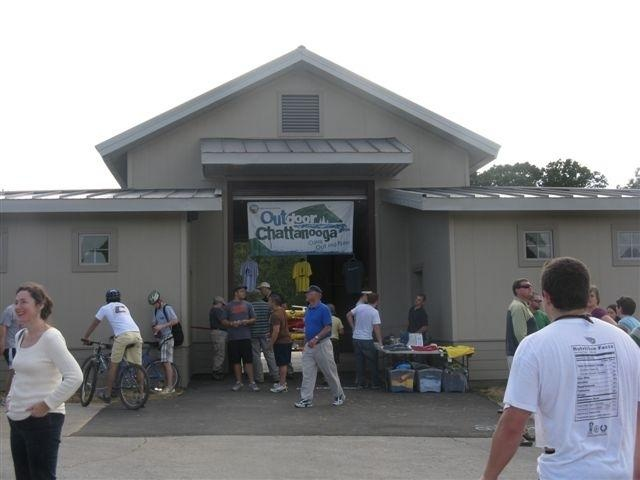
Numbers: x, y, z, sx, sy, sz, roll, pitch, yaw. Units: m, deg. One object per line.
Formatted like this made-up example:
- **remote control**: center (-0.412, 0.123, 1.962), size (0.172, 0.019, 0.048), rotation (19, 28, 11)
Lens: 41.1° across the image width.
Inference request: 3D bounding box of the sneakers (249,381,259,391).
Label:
- **sneakers**: center (-1.287, 2.903, 16.702), size (0.094, 0.119, 0.266), rotation (2, -14, -21)

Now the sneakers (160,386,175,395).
- **sneakers**: center (-2.890, 2.876, 16.159), size (0.269, 0.133, 0.399), rotation (-1, -5, -11)

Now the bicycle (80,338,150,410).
- **bicycle**: center (-3.676, 2.440, 15.099), size (1.660, 1.072, 0.823), rotation (9, -4, 39)

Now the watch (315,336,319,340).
- **watch**: center (-0.049, 1.700, 14.741), size (0.061, 0.064, 0.043), rotation (6, 22, -6)

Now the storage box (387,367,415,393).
- **storage box**: center (1.619, 2.748, 16.644), size (0.472, 0.522, 0.405), rotation (0, -1, 3)

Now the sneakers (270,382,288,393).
- **sneakers**: center (-0.834, 2.899, 16.634), size (0.382, 0.190, 0.147), rotation (-3, 3, 23)

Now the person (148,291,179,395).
- **person**: center (-3.007, 2.000, 16.493), size (0.536, 1.936, 1.013), rotation (-1, -4, -11)

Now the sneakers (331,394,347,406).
- **sneakers**: center (0.342, 2.860, 15.144), size (0.107, 0.153, 0.313), rotation (2, 6, 14)

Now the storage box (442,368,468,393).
- **storage box**: center (2.626, 2.757, 16.597), size (0.464, 0.448, 0.300), rotation (-3, -4, 19)

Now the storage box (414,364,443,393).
- **storage box**: center (2.117, 2.749, 16.594), size (0.438, 0.363, 0.412), rotation (-3, -6, 45)

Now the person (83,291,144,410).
- **person**: center (-3.638, 1.886, 15.323), size (1.062, 2.029, 1.007), rotation (-9, -11, 35)

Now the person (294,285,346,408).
- **person**: center (-0.020, 1.886, 15.074), size (0.799, 2.125, 0.823), rotation (-2, -4, 9)

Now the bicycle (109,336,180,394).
- **bicycle**: center (-3.445, 2.481, 16.553), size (1.338, 1.000, 0.727), rotation (-1, -4, -3)

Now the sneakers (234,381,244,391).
- **sneakers**: center (-1.621, 2.920, 16.803), size (0.094, 0.139, 0.293), rotation (-2, -17, 12)

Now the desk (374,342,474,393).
- **desk**: center (2.131, 2.600, 17.197), size (1.150, 0.648, 1.237), rotation (-1, 0, 2)

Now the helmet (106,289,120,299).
- **helmet**: center (-3.669, 0.991, 15.151), size (0.197, 0.265, 0.254), rotation (0, -2, -24)

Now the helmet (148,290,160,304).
- **helmet**: center (-3.156, 1.105, 16.219), size (0.208, 0.211, 0.289), rotation (1, -2, 1)
